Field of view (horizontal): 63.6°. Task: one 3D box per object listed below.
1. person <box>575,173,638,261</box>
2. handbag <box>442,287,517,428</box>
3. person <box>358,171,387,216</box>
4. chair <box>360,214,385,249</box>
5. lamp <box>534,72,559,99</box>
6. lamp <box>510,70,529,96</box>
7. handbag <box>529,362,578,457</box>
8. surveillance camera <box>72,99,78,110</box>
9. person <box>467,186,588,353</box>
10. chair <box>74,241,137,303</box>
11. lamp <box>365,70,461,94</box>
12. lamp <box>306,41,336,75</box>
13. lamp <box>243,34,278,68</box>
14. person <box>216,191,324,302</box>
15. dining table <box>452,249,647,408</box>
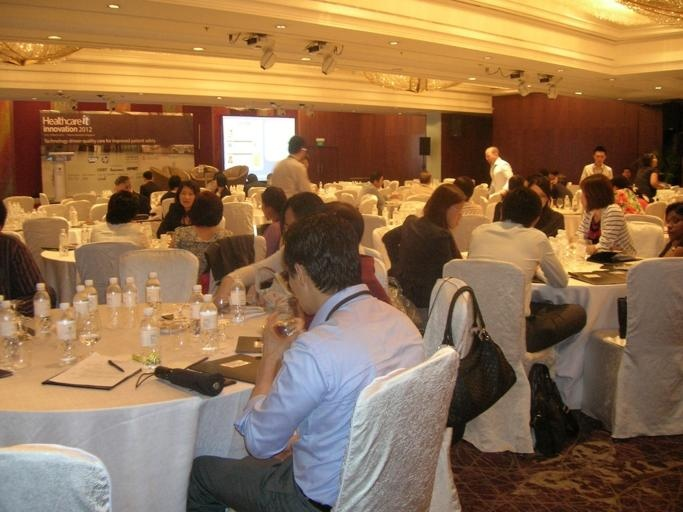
[{"bbox_3d":[2.308,-0.310,5.029,0.574,0.814,0.528,-15,10,-19],"label":"person"},{"bbox_3d":[0.585,0.446,2.536,0.465,0.584,0.204,-25,19,-31],"label":"handbag"},{"bbox_3d":[0.698,-1.130,10.960,0.491,0.998,0.610,-4,-2,2],"label":"person"},{"bbox_3d":[0.348,-0.347,6.839,0.359,0.495,0.390,5,15,14],"label":"chair"},{"bbox_3d":[4.115,-3.436,10.940,0.490,0.194,0.484,3,-6,-34],"label":"lamp"},{"bbox_3d":[3.433,-3.359,10.662,0.326,0.384,1.058,1,12,17],"label":"lamp"},{"bbox_3d":[1.295,0.934,3.481,0.211,0.530,0.281,-11,5,26],"label":"handbag"},{"bbox_3d":[-5.914,-3.337,12.126,0.110,0.202,0.287,-10,13,-32],"label":"surveillance camera"},{"bbox_3d":[1.209,0.098,3.866,0.905,1.056,0.683,14,19,36],"label":"person"},{"bbox_3d":[-1.678,0.095,3.912,0.340,0.477,0.371,1,27,-9],"label":"chair"},{"bbox_3d":[1.453,-3.755,11.841,1.012,0.340,1.050,6,8,36],"label":"lamp"},{"bbox_3d":[-0.298,-2.948,8.085,0.469,0.555,0.274,-13,22,-25],"label":"lamp"},{"bbox_3d":[-1.142,-2.811,7.477,0.403,0.495,0.298,-7,27,-25],"label":"lamp"},{"bbox_3d":[-0.359,0.033,3.245,0.520,0.801,0.609,12,18,32],"label":"person"},{"bbox_3d":[1.672,0.489,3.887,1.090,0.287,1.093,-16,21,-38],"label":"dining table"}]
